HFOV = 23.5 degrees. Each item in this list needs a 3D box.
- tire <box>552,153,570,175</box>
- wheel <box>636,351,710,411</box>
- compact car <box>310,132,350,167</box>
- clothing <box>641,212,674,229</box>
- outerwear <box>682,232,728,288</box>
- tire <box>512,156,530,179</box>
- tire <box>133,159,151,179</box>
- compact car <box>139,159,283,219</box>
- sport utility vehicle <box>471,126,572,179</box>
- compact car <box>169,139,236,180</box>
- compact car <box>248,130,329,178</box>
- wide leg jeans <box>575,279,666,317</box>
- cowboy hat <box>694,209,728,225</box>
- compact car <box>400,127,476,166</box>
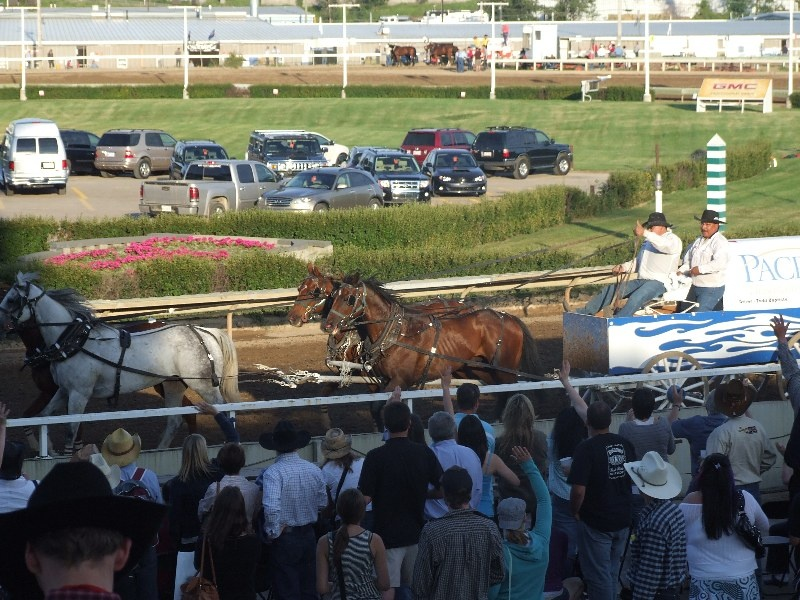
[{"bbox_3d":[6.389,-5.486,77.113,0.707,0.729,0.243,-14,18,-36],"label":"tire"},{"bbox_3d":[7.408,2.170,53.107,1.511,1.586,0.471,-1,4,-8],"label":"wheel"},{"bbox_3d":[-2.773,-6.133,77.527,1.846,1.122,1.208,-15,29,-26],"label":"compact car"},{"bbox_3d":[7.312,-2.240,54.795,0.738,0.307,0.638,3,-1,-10],"label":"clothing"},{"bbox_3d":[8.626,-1.088,54.707,1.009,1.395,1.220,9,7,-34],"label":"outerwear"},{"bbox_3d":[4.727,-5.290,76.230,0.741,0.762,0.232,-12,18,-43],"label":"tire"},{"bbox_3d":[-10.216,-5.267,76.927,0.857,0.884,0.301,-6,10,-42],"label":"tire"},{"bbox_3d":[-6.582,-3.967,67.503,4.425,1.817,1.988,-8,8,-36],"label":"compact car"},{"bbox_3d":[4.910,-5.924,76.744,3.633,1.675,1.916,-11,17,-36],"label":"sport utility vehicle"},{"bbox_3d":[-7.649,-5.494,72.956,1.403,1.200,2.390,-1,2,-24],"label":"compact car"},{"bbox_3d":[-4.402,-5.558,73.924,1.672,1.473,2.767,-3,9,-17],"label":"compact car"},{"bbox_3d":[6.352,-0.108,54.590,1.820,0.528,1.212,-26,28,-16],"label":"wide leg jeans"},{"bbox_3d":[8.761,-2.353,54.882,0.784,0.294,0.724,3,5,9],"label":"cowboy hat"},{"bbox_3d":[1.580,-6.129,77.708,1.457,1.160,2.679,9,20,37],"label":"compact car"}]
